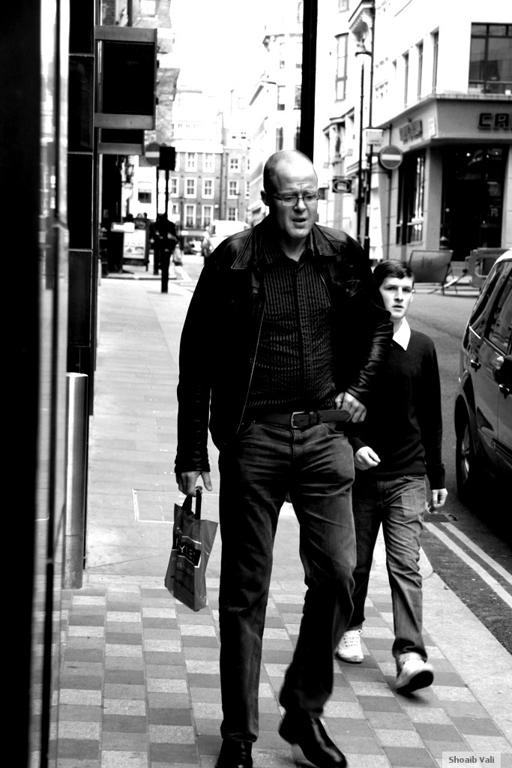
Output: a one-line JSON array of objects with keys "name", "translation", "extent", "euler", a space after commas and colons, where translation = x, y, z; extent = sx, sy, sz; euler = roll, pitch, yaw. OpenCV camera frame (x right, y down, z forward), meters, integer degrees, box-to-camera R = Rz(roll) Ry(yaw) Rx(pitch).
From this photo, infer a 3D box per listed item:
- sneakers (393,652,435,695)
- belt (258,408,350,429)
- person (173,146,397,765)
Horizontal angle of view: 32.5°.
[{"name": "sneakers", "translation": [0.608, 1.115, 3.400], "extent": [0.132, 0.128, 0.152], "euler": [5, 10, 5]}, {"name": "belt", "translation": [0.167, 0.116, 2.765], "extent": [0.344, 0.073, 0.094], "euler": [-2, 12, -32]}, {"name": "person", "translation": [0.089, 0.224, 2.767], "extent": [0.693, 1.883, 0.599], "euler": [3, 9, -3]}]
